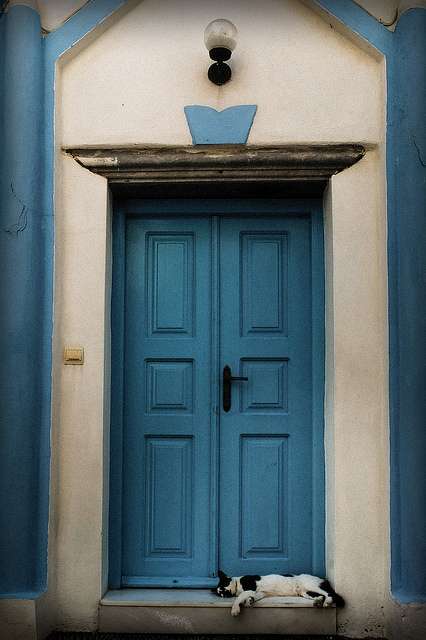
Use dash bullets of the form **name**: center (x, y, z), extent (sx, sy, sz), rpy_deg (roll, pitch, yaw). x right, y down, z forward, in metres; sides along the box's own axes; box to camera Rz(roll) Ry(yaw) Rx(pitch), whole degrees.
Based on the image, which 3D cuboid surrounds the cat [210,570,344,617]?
- **cat**: center (0.325, 1.401, 4.716), extent (0.665, 0.196, 0.265), rpy_deg (1, -6, 0)

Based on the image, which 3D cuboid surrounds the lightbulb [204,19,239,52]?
- **lightbulb**: center (0.037, -1.418, 4.634), extent (0.121, 0.196, 0.144), rpy_deg (0, 0, 9)
